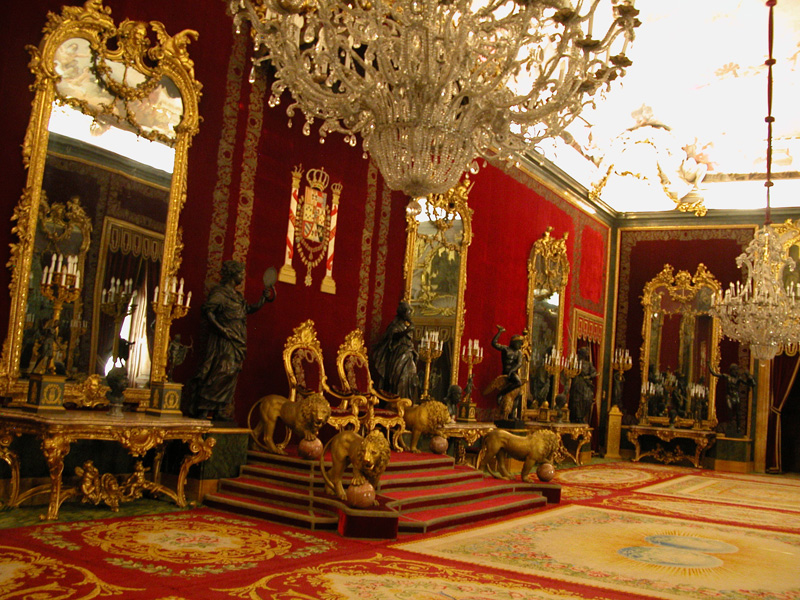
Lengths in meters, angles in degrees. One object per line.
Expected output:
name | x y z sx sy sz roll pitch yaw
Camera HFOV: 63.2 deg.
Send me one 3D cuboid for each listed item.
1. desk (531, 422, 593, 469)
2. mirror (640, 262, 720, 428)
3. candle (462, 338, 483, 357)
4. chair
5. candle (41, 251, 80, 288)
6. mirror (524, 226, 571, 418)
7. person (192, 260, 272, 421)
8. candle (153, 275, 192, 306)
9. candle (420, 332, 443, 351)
desk | 3.433 3.024 13.548 0.785 0.905 2.717 1 -8 24
mirror | 6.793 1.064 15.771 1.813 3.904 0.493 1 -7 23
candle | 1.205 0.797 10.763 0.297 0.374 0.306 0 -12 13
chair | -0.728 1.155 8.725 1.003 1.697 1.745 -1 -9 39
candle | -3.351 -0.289 6.360 0.327 0.341 0.065 5 -22 -15
mirror | 3.059 0.343 13.699 0.224 3.857 1.645 0 -8 34
person | -1.976 0.494 7.612 0.794 1.828 0.621 8 -7 -28
candle | -2.531 -0.085 7.265 0.321 0.352 0.313 11 -11 -8
candle | 0.480 0.648 10.174 0.295 0.457 0.303 3 -14 -1
